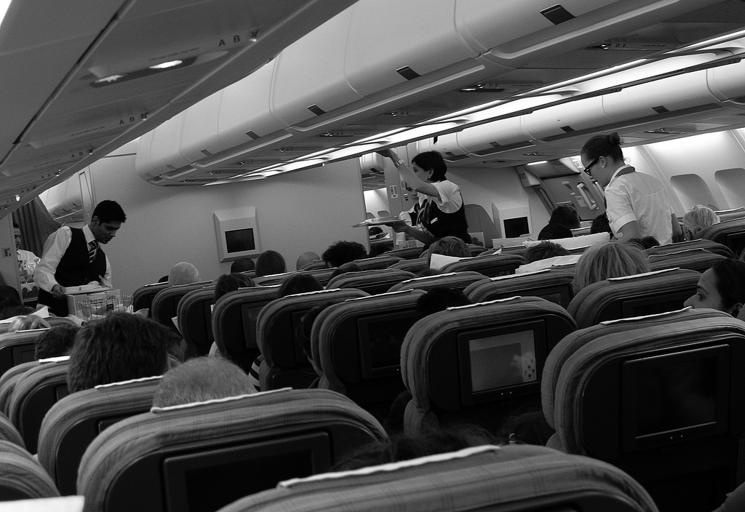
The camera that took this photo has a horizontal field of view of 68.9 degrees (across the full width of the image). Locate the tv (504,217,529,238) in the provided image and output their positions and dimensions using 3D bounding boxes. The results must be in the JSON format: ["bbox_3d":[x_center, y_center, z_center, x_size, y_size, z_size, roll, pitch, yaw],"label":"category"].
[{"bbox_3d":[3.787,-0.747,14.486,0.850,0.497,0.087,-5,1,-28],"label":"tv"}]

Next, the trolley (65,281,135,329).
[{"bbox_3d":[-2.931,0.512,6.124,0.438,0.465,0.736,-14,-7,-27],"label":"trolley"}]

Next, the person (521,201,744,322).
[{"bbox_3d":[1.618,-0.002,3.365,1.205,0.398,0.364,-11,19,-23],"label":"person"}]
